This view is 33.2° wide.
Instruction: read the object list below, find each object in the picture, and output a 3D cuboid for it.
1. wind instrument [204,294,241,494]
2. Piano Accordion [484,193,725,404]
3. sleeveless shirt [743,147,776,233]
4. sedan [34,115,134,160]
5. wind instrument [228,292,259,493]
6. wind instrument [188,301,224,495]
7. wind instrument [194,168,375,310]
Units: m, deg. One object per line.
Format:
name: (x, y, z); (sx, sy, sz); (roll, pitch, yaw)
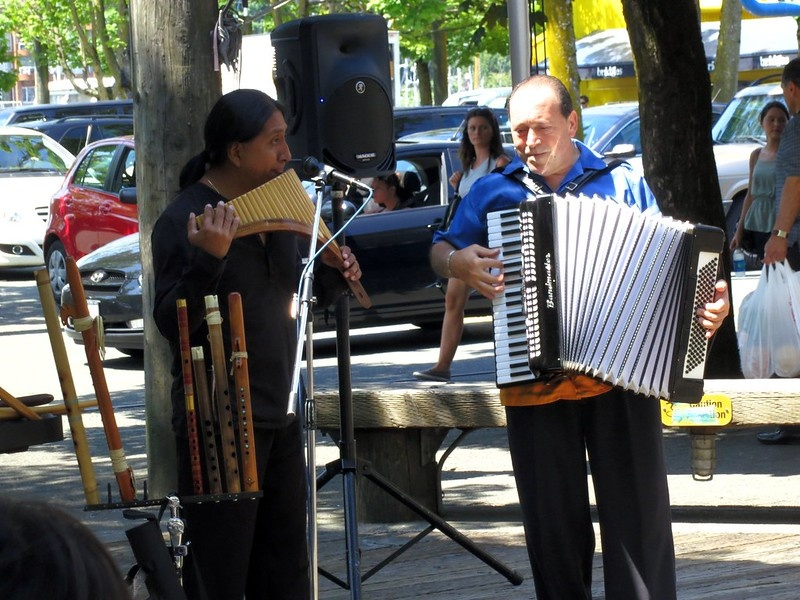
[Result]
wind instrument: (-0.657, 0.382, 5.051); (0.135, 0.831, 0.114); (1, 10, 19)
Piano Accordion: (0.809, -0.006, 5.441); (0.818, 0.736, 0.325); (8, -2, 11)
sleeveless shirt: (2.475, -0.743, 9.043); (0.200, 0.551, 0.246); (15, 27, 31)
sedan: (-3.937, -2.155, 17.023); (0.823, 0.576, 1.665); (-5, 8, -25)
wind instrument: (-0.585, 0.346, 5.054); (0.056, 0.754, 0.139); (-5, 8, -9)
wind instrument: (-0.718, 0.376, 5.124); (0.089, 0.745, 0.093); (-3, 8, 10)
wind instrument: (-0.427, -0.246, 5.258); (0.477, 0.204, 0.304); (45, 28, 17)
